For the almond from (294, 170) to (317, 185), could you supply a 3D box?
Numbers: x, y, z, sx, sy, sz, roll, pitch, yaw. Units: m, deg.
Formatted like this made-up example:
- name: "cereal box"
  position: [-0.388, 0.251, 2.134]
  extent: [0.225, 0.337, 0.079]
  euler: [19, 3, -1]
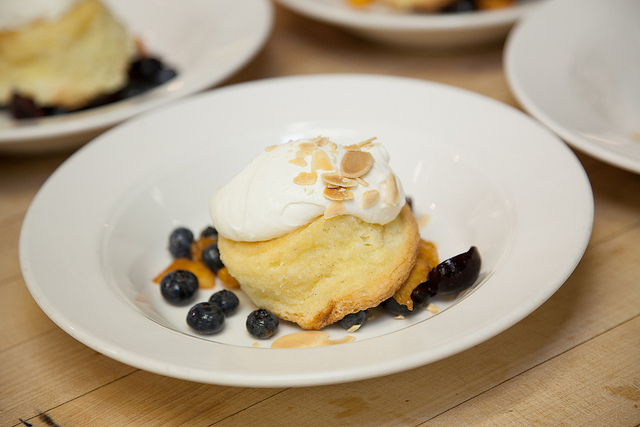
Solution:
- name: "almond"
  position: [-0.043, -0.111, 1.837]
  extent: [0.068, 0.013, 0.044]
  euler: [0, 78, 1]

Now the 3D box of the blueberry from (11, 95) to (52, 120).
- name: "blueberry"
  position: [-1.063, -0.387, 2.254]
  extent: [0.124, 0.040, 0.092]
  euler: [-22, 56, -24]

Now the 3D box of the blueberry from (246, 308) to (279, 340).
- name: "blueberry"
  position: [-0.177, 0.324, 1.834]
  extent: [0.086, 0.083, 0.084]
  euler: [-2, 20, -4]

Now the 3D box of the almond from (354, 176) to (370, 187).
- name: "almond"
  position: [0.127, -0.100, 1.839]
  extent: [0.021, 0.009, 0.039]
  euler: [-28, 53, -34]

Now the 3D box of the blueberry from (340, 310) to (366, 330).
- name: "blueberry"
  position: [0.099, 0.315, 1.799]
  extent: [0.075, 0.021, 0.046]
  euler: [-15, 78, -3]

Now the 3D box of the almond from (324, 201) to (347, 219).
- name: "almond"
  position: [0.042, -0.016, 1.817]
  extent: [0.072, 0.019, 0.042]
  euler: [-20, 79, -4]

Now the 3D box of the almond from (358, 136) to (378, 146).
- name: "almond"
  position: [0.165, -0.245, 1.995]
  extent: [0.024, 0.018, 0.103]
  euler: [28, 42, 34]

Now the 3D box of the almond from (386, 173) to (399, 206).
- name: "almond"
  position: [0.223, -0.072, 1.864]
  extent: [0.053, 0.017, 0.081]
  euler: [0, 84, -16]

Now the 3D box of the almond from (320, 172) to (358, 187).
- name: "almond"
  position: [0.058, -0.103, 1.825]
  extent: [0.074, 0.012, 0.052]
  euler: [8, 29, -5]

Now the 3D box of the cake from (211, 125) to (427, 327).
- name: "cake"
  position: [-0.001, 0.009, 2.020]
  extent: [0.670, 0.397, 0.682]
  euler: [-13, 36, 4]

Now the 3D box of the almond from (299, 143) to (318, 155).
- name: "almond"
  position: [-0.035, -0.210, 1.909]
  extent: [0.038, 0.010, 0.042]
  euler: [-4, 40, -8]

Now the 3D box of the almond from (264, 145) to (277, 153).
- name: "almond"
  position: [-0.159, -0.212, 1.953]
  extent: [0.020, 0.007, 0.031]
  euler: [9, 30, 30]

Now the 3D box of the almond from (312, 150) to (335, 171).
- name: "almond"
  position: [0.011, -0.166, 1.868]
  extent: [0.067, 0.028, 0.074]
  euler: [-1, 78, 1]

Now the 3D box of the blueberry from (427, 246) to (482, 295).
- name: "blueberry"
  position: [0.410, 0.178, 1.797]
  extent: [0.187, 0.075, 0.099]
  euler: [-27, 79, -5]

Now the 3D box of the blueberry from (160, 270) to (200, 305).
- name: "blueberry"
  position: [-0.438, 0.229, 1.882]
  extent: [0.106, 0.079, 0.101]
  euler: [4, 67, -3]

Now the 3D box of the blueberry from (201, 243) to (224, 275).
- name: "blueberry"
  position: [-0.350, 0.145, 1.972]
  extent: [0.074, 0.083, 0.047]
  euler: [1, 11, 18]

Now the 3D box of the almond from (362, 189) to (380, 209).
- name: "almond"
  position: [0.149, -0.049, 1.836]
  extent: [0.070, 0.024, 0.038]
  euler: [-44, 81, -8]

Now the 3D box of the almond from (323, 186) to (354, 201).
- name: "almond"
  position: [0.054, -0.057, 1.812]
  extent: [0.072, 0.015, 0.041]
  euler: [2, 77, -9]

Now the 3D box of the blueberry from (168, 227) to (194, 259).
- name: "blueberry"
  position: [-0.459, 0.096, 1.993]
  extent: [0.090, 0.106, 0.085]
  euler: [-6, 86, 8]

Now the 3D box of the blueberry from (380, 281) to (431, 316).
- name: "blueberry"
  position: [0.268, 0.243, 1.879]
  extent: [0.183, 0.083, 0.163]
  euler: [-1, 19, 6]
